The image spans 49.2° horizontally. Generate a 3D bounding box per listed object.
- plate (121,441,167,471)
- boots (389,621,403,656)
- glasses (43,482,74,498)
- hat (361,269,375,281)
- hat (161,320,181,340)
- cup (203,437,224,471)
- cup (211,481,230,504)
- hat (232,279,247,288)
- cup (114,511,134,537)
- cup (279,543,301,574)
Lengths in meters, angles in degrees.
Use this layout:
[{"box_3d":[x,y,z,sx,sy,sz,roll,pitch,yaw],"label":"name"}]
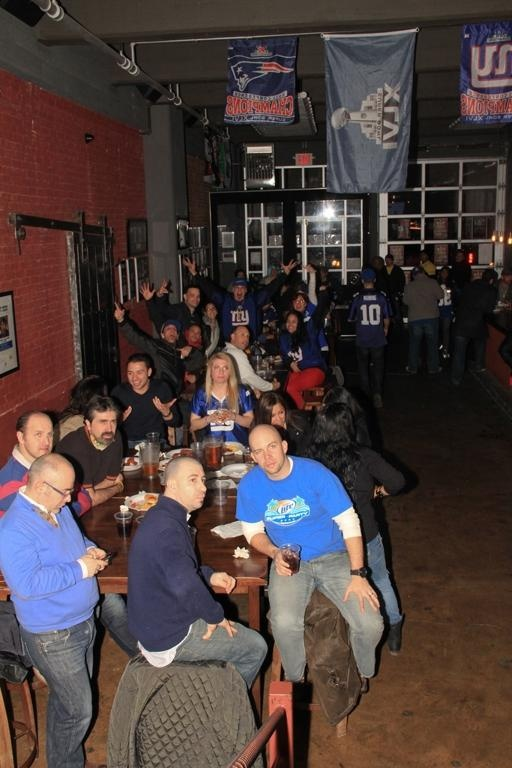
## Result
[{"box_3d":[-0.715,0.461,3.629,0.261,0.262,0.176,-1,14,-7],"label":"plate"},{"box_3d":[0.814,1.487,3.273,0.077,0.149,0.217,-2,49,12],"label":"boots"},{"box_3d":[-0.711,0.384,2.033,0.076,0.023,0.073,34,-4,-7],"label":"glasses"},{"box_3d":[1.738,-1.692,8.650,0.152,0.123,0.209,0,39,10],"label":"hat"},{"box_3d":[-0.944,-0.588,6.246,0.164,0.240,0.234,-2,14,-10],"label":"hat"},{"box_3d":[-0.272,0.454,3.641,0.155,0.209,0.130,4,25,5],"label":"cup"},{"box_3d":[-0.202,0.635,3.298,0.114,0.133,0.109,1,8,0],"label":"cup"},{"box_3d":[-0.227,-1.512,8.363,0.207,0.155,0.340,0,10,0],"label":"hat"},{"box_3d":[-0.630,0.685,2.767,0.103,0.107,0.104,1,16,0],"label":"cup"},{"box_3d":[0.157,0.762,2.483,0.107,0.119,0.105,-1,5,0],"label":"cup"}]
